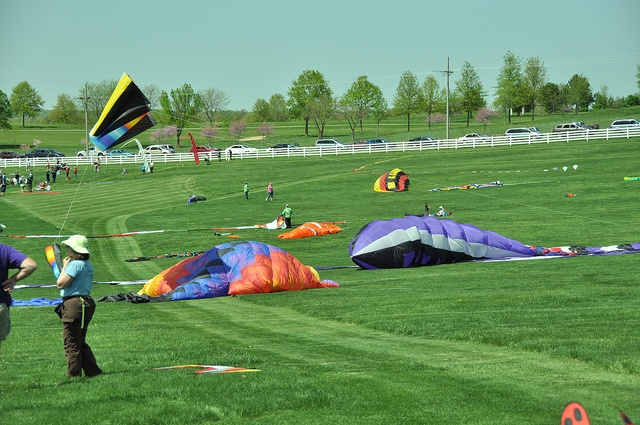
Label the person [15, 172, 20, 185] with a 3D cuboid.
[{"bbox_3d":[-32.115,-3.554,102.562,0.505,1.125,1.547,-2,4,-19],"label":"person"}]
